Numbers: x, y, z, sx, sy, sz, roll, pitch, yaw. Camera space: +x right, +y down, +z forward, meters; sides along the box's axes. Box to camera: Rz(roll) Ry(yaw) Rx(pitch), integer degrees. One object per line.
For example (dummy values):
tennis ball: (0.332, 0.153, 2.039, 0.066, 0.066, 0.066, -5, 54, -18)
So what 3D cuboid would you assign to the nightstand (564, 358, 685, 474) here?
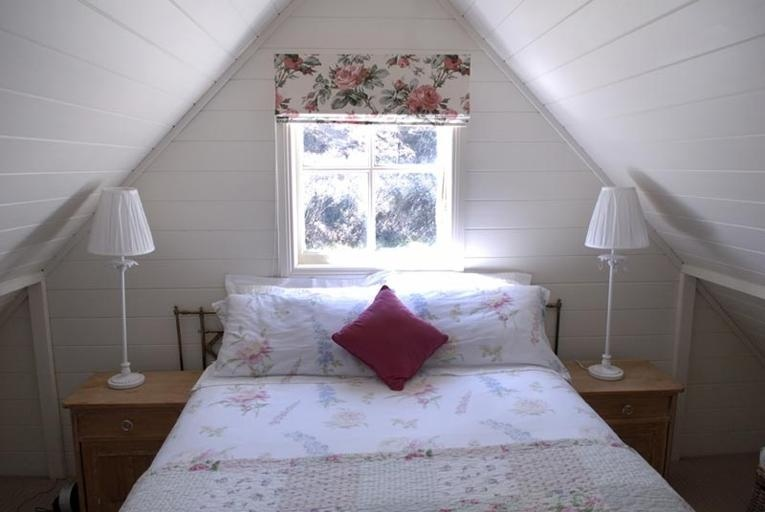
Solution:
nightstand: (1.310, 0.828, 3.064, 0.744, 0.653, 0.514, -2, 18, 0)
